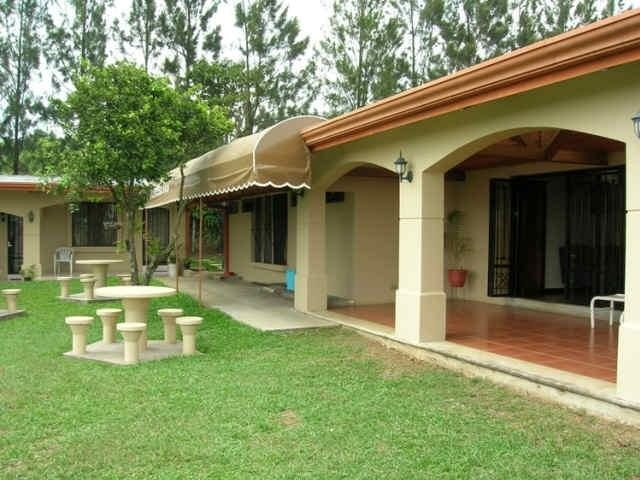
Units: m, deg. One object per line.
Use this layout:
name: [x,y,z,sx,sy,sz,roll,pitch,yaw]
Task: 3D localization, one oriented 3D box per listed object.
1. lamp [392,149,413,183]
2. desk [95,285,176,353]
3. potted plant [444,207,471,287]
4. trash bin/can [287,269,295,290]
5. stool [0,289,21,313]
lamp: [1.531,-1.314,10.125,0.347,0.553,0.410,0,6,6]
desk: [-3.326,1.444,9.809,1.361,1.031,1.318,20,-22,-22]
potted plant: [3.685,0.276,14.965,0.549,2.111,0.771,-3,6,-24]
trash bin/can: [-0.855,1.187,15.949,0.210,0.584,0.481,0,6,-1]
stool: [-7.005,1.389,12.585,0.495,0.645,0.505,0,-3,-20]
